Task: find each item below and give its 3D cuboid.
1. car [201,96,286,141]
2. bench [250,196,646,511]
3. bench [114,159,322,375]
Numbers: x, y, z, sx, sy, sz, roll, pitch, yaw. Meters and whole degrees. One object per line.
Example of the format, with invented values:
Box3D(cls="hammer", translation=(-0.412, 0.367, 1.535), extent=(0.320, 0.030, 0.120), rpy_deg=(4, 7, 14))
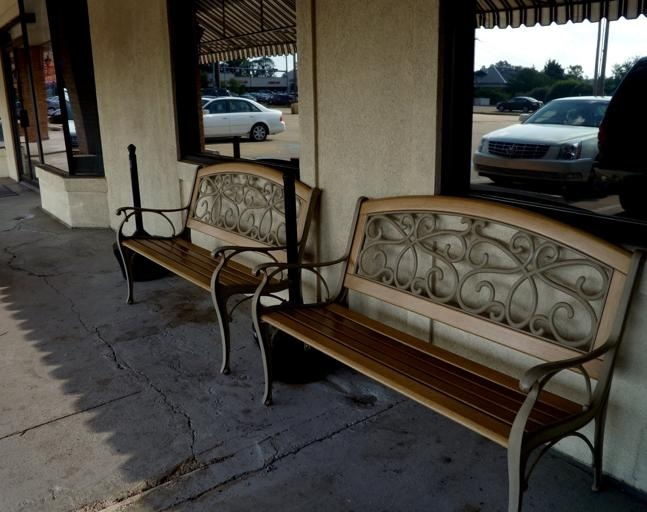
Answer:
Box3D(cls="car", translation=(-1.834, -3.011, 10.591), extent=(2.657, 0.811, 1.117), rpy_deg=(-1, 13, -26))
Box3D(cls="bench", translation=(0.625, 0.500, 2.274), extent=(0.609, 0.825, 1.258), rpy_deg=(-12, 21, -31))
Box3D(cls="bench", translation=(-0.793, 0.112, 3.600), extent=(0.712, 1.061, 1.563), rpy_deg=(-8, 18, -43))
